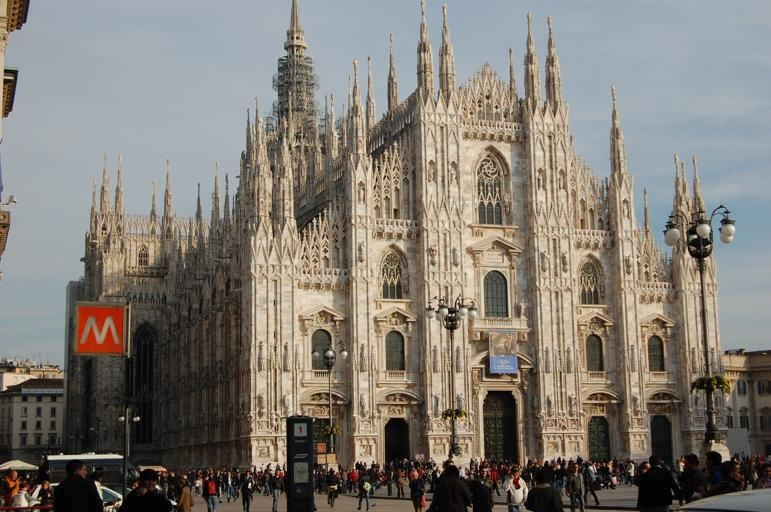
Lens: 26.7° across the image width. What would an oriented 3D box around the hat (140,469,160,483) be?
[{"bbox_3d":[-11.269,10.491,77.020,0.819,0.647,0.503,-1,-12,-8],"label":"hat"}]
